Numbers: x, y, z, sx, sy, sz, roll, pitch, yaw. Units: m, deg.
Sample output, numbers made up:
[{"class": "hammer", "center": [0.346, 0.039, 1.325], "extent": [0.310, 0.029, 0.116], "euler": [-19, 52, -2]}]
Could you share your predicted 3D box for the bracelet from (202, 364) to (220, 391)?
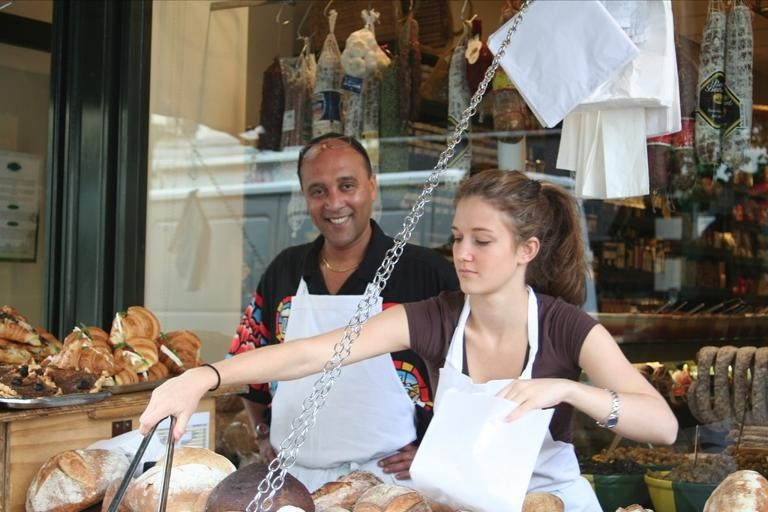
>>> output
[{"class": "bracelet", "center": [-0.550, 0.382, 2.295], "extent": [0.014, 0.068, 0.070], "euler": [-21, 26, 2]}]
